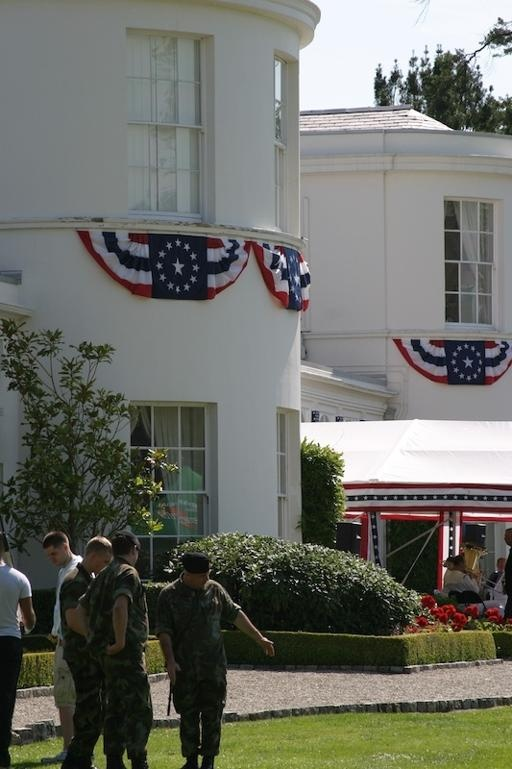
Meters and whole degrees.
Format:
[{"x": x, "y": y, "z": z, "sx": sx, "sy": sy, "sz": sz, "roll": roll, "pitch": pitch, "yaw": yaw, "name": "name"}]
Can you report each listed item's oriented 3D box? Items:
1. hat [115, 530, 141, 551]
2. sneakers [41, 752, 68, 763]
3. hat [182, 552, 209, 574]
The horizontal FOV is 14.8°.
[{"x": -0.888, "y": 1.062, "z": 13.505, "sx": 0.096, "sy": 0.129, "sz": 0.141, "roll": 0, "pitch": 7, "yaw": 8, "name": "hat"}, {"x": -1.424, "y": 2.635, "z": 14.001, "sx": 0.204, "sy": 0.108, "sz": 0.081, "roll": 7, "pitch": -5, "yaw": -12, "name": "sneakers"}, {"x": -0.404, "y": 1.222, "z": 13.637, "sx": 0.146, "sy": 0.133, "sz": 0.118, "roll": -4, "pitch": 11, "yaw": -18, "name": "hat"}]
